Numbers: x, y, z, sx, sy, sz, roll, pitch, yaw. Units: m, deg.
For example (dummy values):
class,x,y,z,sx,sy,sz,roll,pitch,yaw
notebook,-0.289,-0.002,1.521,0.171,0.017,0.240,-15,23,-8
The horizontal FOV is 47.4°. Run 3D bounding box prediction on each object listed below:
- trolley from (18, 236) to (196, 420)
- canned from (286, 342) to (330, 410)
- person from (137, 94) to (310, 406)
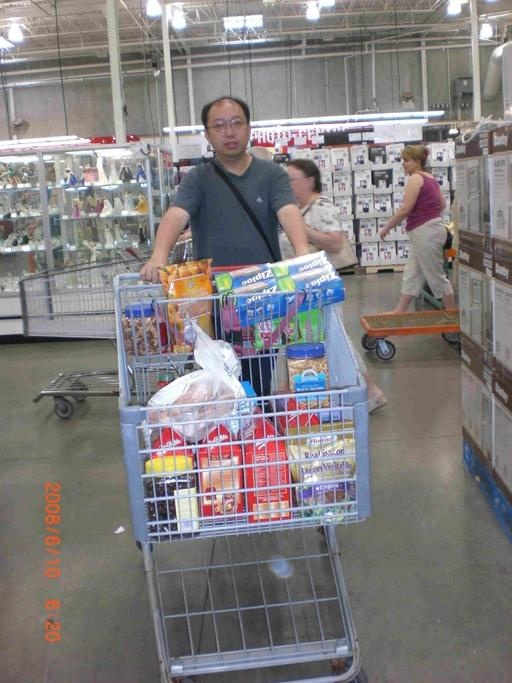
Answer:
class,x,y,z,sx,sy,sz,roll,pitch,yaw
trolley,-0.787,-0.190,4.479,1.635,1.605,0.947,1,18,-3
canned,0.082,0.082,1.202,0.096,0.136,0.095,-7,-1,22
person,-0.089,-0.276,2.053,0.551,1.109,0.412,-2,17,-2
